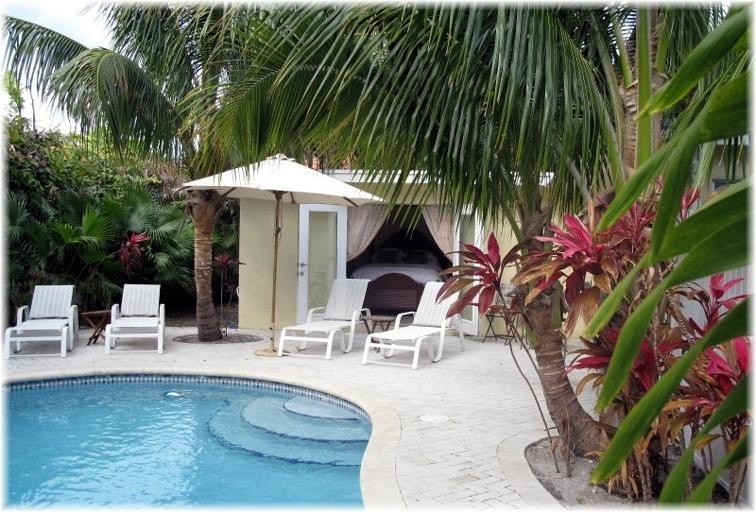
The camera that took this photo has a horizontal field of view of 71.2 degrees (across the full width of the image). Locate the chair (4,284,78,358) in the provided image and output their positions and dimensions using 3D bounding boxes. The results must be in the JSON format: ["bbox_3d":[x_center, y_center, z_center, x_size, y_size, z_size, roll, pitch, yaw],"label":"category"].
[{"bbox_3d":[-5.420,0.994,8.562,0.859,1.075,1.587,-1,-5,-7],"label":"chair"}]

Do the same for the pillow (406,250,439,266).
[{"bbox_3d":[1.219,0.071,15.351,0.566,0.570,0.160,-1,-12,6],"label":"pillow"}]

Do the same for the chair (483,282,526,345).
[{"bbox_3d":[1.780,0.854,7.538,0.438,0.733,0.527,10,-4,33],"label":"chair"}]

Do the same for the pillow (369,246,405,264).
[{"bbox_3d":[0.263,-0.005,15.157,0.570,0.614,0.181,-4,-30,15],"label":"pillow"}]

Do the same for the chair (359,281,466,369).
[{"bbox_3d":[0.628,1.067,8.270,0.935,1.216,1.893,0,-1,31],"label":"chair"}]

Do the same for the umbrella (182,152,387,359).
[{"bbox_3d":[-1.756,0.053,9.851,3.679,3.320,3.641,6,-9,-41],"label":"umbrella"}]

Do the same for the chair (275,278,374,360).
[{"bbox_3d":[-0.824,1.061,8.893,0.977,1.208,1.721,1,0,25],"label":"chair"}]

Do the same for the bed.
[{"bbox_3d":[0.587,0.575,14.351,2.084,1.840,2.971,3,4,10],"label":"bed"}]
